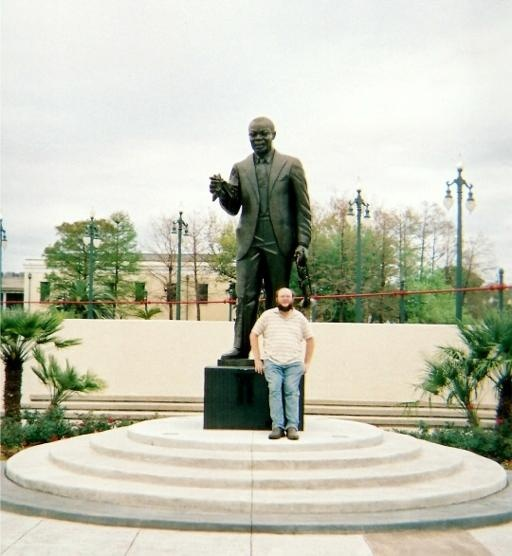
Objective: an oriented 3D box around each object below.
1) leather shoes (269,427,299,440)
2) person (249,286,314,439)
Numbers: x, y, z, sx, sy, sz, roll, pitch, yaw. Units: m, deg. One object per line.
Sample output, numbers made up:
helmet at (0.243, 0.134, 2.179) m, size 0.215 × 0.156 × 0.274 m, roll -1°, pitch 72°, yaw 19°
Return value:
leather shoes at (0.258, 1.493, 7.549) m, size 0.302 × 0.105 × 0.296 m, roll 1°, pitch 1°, yaw 10°
person at (0.243, 0.829, 7.736) m, size 0.615 × 1.422 × 0.512 m, roll 1°, pitch 1°, yaw 2°
